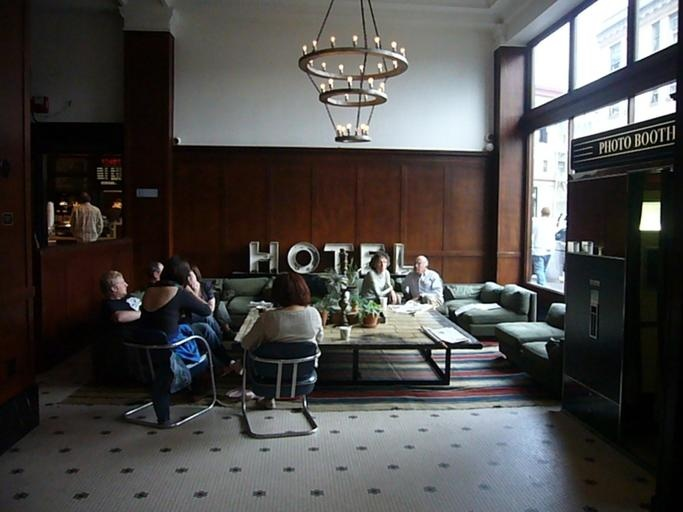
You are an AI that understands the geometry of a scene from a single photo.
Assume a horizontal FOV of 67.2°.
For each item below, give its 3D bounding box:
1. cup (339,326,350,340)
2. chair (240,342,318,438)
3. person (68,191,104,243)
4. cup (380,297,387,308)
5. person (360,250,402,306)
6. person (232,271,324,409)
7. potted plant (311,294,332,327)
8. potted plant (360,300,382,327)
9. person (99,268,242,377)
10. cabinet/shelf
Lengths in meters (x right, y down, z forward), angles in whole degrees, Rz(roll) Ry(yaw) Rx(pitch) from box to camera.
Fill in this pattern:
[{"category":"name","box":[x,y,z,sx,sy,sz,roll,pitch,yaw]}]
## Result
[{"category":"cup","box":[0.028,0.836,5.653,0.110,0.137,0.160,-1,11,-8]},{"category":"chair","box":[-0.549,1.224,5.114,0.750,0.989,0.889,1,1,-11]},{"category":"person","box":[-4.828,-0.573,9.649,0.425,1.260,0.275,4,30,-24]},{"category":"cup","box":[0.550,0.617,6.880,0.109,0.161,0.132,-1,1,1]},{"category":"person","box":[0.652,0.352,7.826,0.563,0.895,0.717,1,1,-39]},{"category":"person","box":[-0.517,0.628,4.707,0.696,1.308,0.736,3,24,-12]},{"category":"potted plant","box":[-0.244,0.644,6.283,0.284,0.350,0.298,1,-5,-3]},{"category":"potted plant","box":[0.317,0.695,6.169,0.264,0.265,0.268,-2,-2,37]},{"category":"person","box":[-1.749,0.679,5.451,1.174,1.555,0.629,-15,25,-29]},{"category":"cabinet/shelf","box":[-5.572,-1.230,10.898,1.842,1.923,1.336,0,-5,-9]}]
